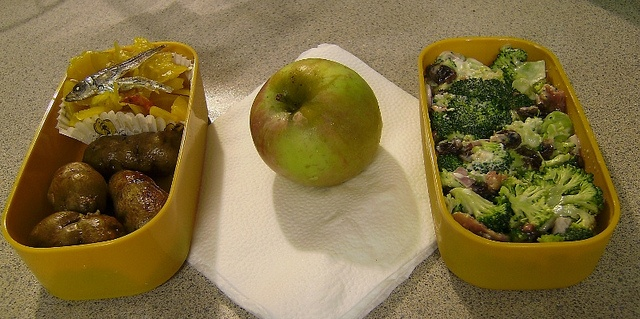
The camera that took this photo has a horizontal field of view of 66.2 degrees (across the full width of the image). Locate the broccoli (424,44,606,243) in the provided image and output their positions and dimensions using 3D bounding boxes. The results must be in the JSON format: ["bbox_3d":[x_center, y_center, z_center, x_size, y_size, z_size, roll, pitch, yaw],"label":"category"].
[{"bbox_3d":[0.489,-0.031,1.304,0.364,0.165,0.524,-3,60,7],"label":"broccoli"}]
